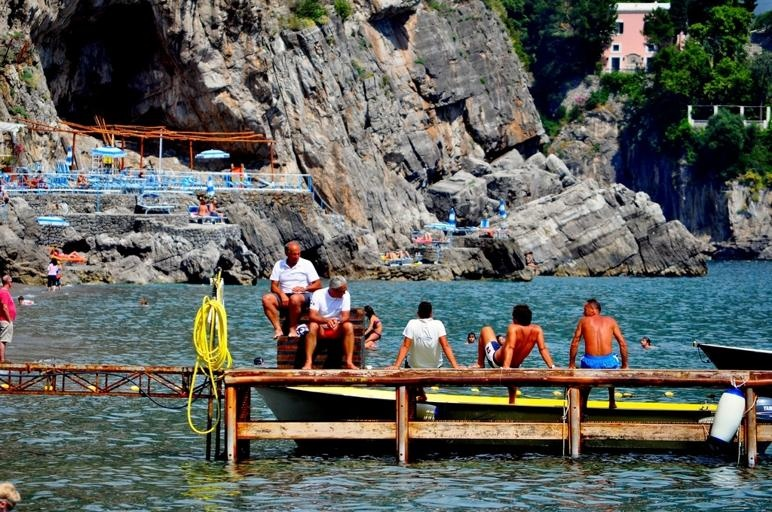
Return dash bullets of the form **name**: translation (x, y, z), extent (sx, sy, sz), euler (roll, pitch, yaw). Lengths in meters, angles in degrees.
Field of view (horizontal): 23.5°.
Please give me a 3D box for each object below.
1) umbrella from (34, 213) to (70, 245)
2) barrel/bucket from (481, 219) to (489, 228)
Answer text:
- **umbrella**: translation (-22.503, -1.848, 125.224), extent (1.999, 1.900, 1.955), euler (0, 6, -3)
- **barrel/bucket**: translation (7.732, -2.579, 146.547), extent (0.691, 0.722, 0.677), euler (0, -6, 0)
